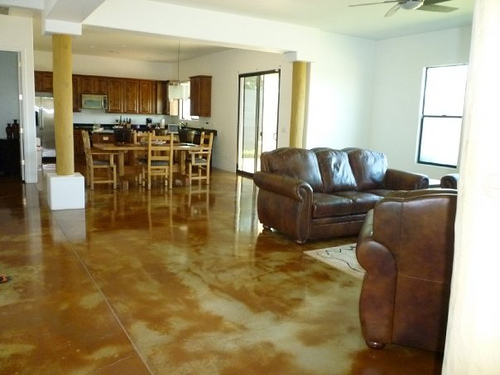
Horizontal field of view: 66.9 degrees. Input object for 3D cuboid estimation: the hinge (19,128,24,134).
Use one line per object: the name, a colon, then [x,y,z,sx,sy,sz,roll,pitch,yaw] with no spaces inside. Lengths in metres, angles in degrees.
hinge: [-4.491,-1.110,7.438,0.097,0.110,0.029,6,13,17]

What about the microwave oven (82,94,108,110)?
microwave oven: [-4.841,-2.681,11.805,0.771,0.485,0.180,-4,14,-24]

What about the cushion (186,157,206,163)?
cushion: [-1.215,-0.628,8.376,0.364,0.097,0.681,-2,13,-19]

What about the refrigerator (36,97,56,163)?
refrigerator: [-5.897,-1.733,10.893,0.469,1.685,0.301,-6,15,-31]

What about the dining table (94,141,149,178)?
dining table: [-2.837,-0.569,8.094,0.762,0.518,0.824,11,2,15]

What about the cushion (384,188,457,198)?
cushion: [1.177,0.029,2.599,0.239,0.063,0.226,2,4,38]

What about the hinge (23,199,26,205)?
hinge: [-3.692,0.231,6.189,0.035,0.007,0.424,-5,14,-30]

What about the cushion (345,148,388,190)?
cushion: [1.750,-0.305,5.701,0.608,0.580,0.588,0,9,4]

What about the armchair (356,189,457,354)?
armchair: [1.267,0.558,2.746,0.869,1.024,0.621,7,7,19]

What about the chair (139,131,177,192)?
chair: [-1.916,-0.526,7.764,0.628,1.096,0.683,-2,8,-24]

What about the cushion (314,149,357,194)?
cushion: [1.165,-0.211,5.376,0.644,0.605,0.284,-1,-3,-31]

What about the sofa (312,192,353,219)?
sofa: [0.989,0.229,4.780,0.593,0.242,0.253,-4,13,-25]

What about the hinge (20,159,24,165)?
hinge: [-4.638,-0.517,7.716,0.104,0.103,0.022,8,14,24]

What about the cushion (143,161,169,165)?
cushion: [-1.915,-0.499,7.684,0.511,0.070,0.314,-1,12,-15]

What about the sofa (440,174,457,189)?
sofa: [2.514,-0.069,4.779,0.182,0.165,0.435,9,14,28]

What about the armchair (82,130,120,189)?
armchair: [-3.045,-0.575,7.751,0.746,1.052,0.838,3,5,-1]

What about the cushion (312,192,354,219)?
cushion: [1.002,0.224,4.707,0.336,0.146,0.361,-2,8,-15]

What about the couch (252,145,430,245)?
couch: [1.304,0.056,5.301,2.285,1.189,1.098,-4,10,-28]
